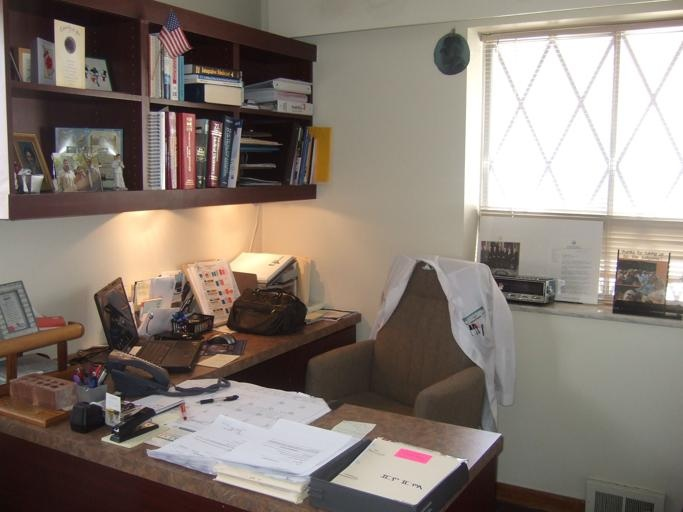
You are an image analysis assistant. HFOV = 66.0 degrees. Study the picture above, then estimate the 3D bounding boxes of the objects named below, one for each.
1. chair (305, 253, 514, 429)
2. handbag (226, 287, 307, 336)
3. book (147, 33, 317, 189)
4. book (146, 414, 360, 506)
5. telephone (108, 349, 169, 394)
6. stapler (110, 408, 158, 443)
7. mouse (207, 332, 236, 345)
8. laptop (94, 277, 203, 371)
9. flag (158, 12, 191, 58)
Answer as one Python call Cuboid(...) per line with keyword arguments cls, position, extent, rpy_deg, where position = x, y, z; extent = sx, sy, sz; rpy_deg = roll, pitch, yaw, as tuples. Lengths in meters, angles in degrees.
Cuboid(cls="chair", position=(0.322, 0.377, 3.095), extent=(1.036, 1.332, 0.940), rpy_deg=(4, 1, 39))
Cuboid(cls="handbag", position=(-0.444, 0.328, 3.198), extent=(0.418, 0.287, 0.359), rpy_deg=(5, 0, 23))
Cuboid(cls="book", position=(-0.642, -0.826, 3.040), extent=(0.349, 0.922, 1.064), rpy_deg=(1, 4, 38))
Cuboid(cls="book", position=(-0.279, 0.624, 1.704), extent=(0.602, 0.085, 0.318), rpy_deg=(4, 9, 25))
Cuboid(cls="telephone", position=(-0.819, 0.457, 2.143), extent=(0.200, 0.096, 0.164), rpy_deg=(5, -3, -7))
Cuboid(cls="stapler", position=(-0.714, 0.582, 1.867), extent=(0.060, 0.089, 0.206), rpy_deg=(5, 9, 28))
Cuboid(cls="mouse", position=(-0.642, 0.435, 2.804), extent=(0.123, 0.042, 0.069), rpy_deg=(3, 3, 20))
Cuboid(cls="laptop", position=(-0.937, 0.336, 2.602), extent=(0.511, 0.386, 0.503), rpy_deg=(4, 7, 17))
Cuboid(cls="flag", position=(-0.811, -1.067, 2.537), extent=(0.166, 0.278, 0.028), rpy_deg=(-7, 54, -15))
